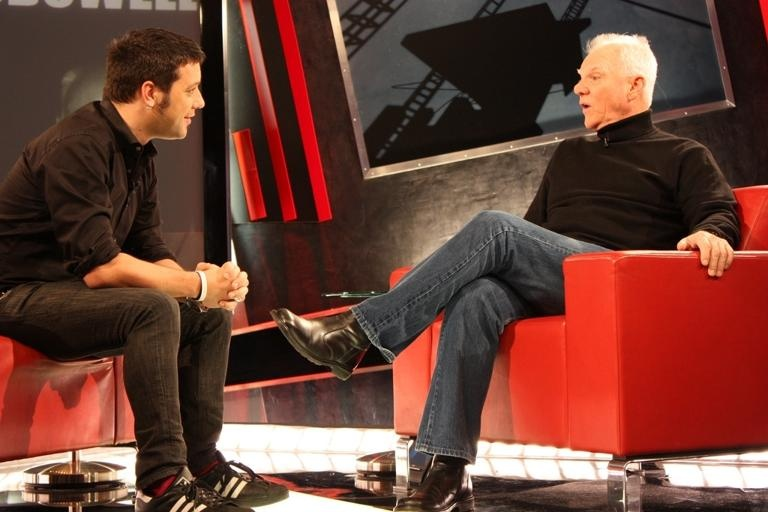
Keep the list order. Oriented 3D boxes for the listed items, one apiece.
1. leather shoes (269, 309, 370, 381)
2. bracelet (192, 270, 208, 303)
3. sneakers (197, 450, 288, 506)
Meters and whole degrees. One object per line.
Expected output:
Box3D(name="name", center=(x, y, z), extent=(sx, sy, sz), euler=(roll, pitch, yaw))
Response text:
Box3D(name="leather shoes", center=(-0.211, 0.299, 2.400), extent=(0.335, 0.230, 0.188), euler=(3, -9, -2))
Box3D(name="bracelet", center=(-0.606, 0.100, 2.345), extent=(0.033, 0.084, 0.063), euler=(-5, 5, -26))
Box3D(name="sneakers", center=(-0.491, 0.775, 2.477), extent=(0.375, 0.164, 0.142), euler=(9, 14, -2))
